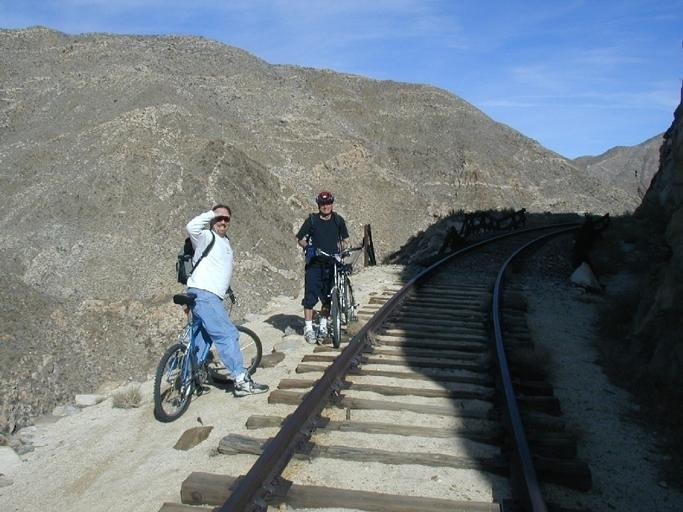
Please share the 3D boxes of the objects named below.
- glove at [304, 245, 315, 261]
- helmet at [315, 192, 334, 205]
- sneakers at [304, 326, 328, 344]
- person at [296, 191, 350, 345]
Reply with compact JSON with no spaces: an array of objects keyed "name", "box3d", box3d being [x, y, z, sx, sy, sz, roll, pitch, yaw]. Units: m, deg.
[{"name":"glove","box3d":[-0.581,-0.063,9.834,0.177,0.258,0.252,4,14,-3]},{"name":"helmet","box3d":[-0.301,-1.060,9.792,0.256,0.275,0.228,-7,19,-4]},{"name":"sneakers","box3d":[-0.470,1.489,10.176,0.540,0.253,0.206,0,5,29]},{"name":"person","box3d":[-0.369,0.223,10.138,0.914,2.871,0.596,-10,15,-37]}]
